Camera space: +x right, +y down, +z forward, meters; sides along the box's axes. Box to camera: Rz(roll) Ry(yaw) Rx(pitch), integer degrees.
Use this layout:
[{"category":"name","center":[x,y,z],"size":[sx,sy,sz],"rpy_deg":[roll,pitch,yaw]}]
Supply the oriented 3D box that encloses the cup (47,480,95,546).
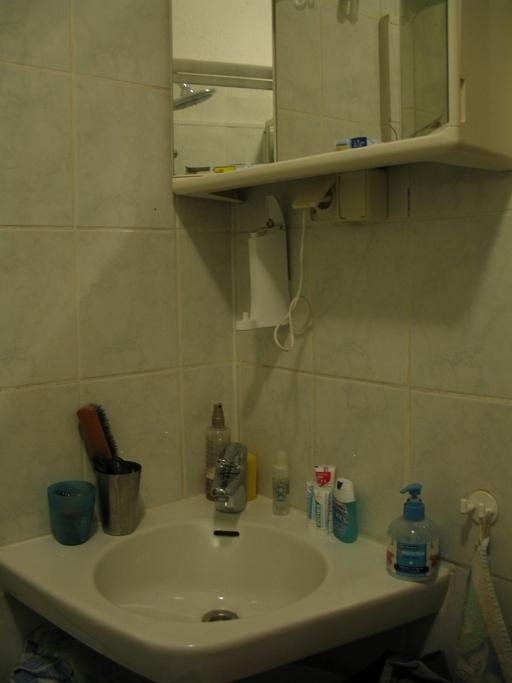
[{"category":"cup","center":[-0.318,0.299,1.116],"size":[0.081,0.119,0.096],"rpy_deg":[-1,-5,-3]}]

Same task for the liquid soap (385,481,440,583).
[{"category":"liquid soap","center":[0.242,0.287,0.990],"size":[0.082,0.147,0.066],"rpy_deg":[0,3,14]}]

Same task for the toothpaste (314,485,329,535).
[{"category":"toothpaste","center":[0.118,0.305,1.166],"size":[0.029,0.077,0.020],"rpy_deg":[0,3,14]}]

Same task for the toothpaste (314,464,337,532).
[{"category":"toothpaste","center":[0.126,0.282,1.168],"size":[0.016,0.100,0.057],"rpy_deg":[5,-8,-21]}]

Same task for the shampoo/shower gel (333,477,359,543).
[{"category":"shampoo/shower gel","center":[0.158,0.298,1.139],"size":[0.041,0.111,0.049],"rpy_deg":[0,3,5]}]

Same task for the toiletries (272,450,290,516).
[{"category":"toiletries","center":[0.050,0.280,1.290],"size":[0.034,0.128,0.067],"rpy_deg":[0,3,3]}]
